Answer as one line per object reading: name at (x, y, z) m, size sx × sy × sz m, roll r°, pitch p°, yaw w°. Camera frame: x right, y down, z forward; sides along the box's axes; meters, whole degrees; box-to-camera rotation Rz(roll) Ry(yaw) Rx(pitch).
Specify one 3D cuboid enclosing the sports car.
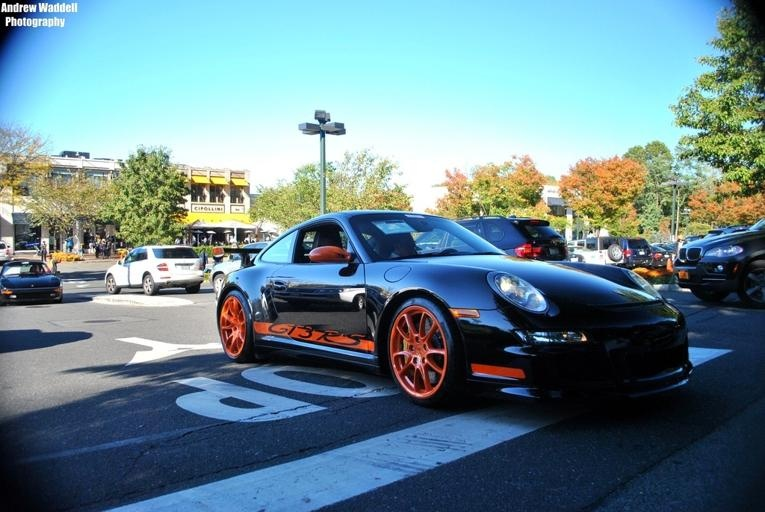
sports car at (0.351, 0.557, 5.203) m, size 4.292 × 1.276 × 2.179 m, roll 1°, pitch 0°, yaw 41°

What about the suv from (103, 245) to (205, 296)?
suv at (-8.933, 0.506, 19.554) m, size 3.501 × 1.888 × 1.608 m, roll 0°, pitch 3°, yaw 31°
